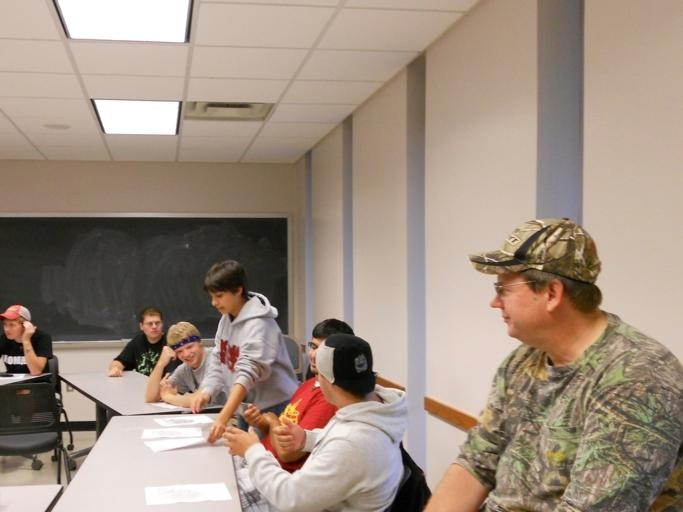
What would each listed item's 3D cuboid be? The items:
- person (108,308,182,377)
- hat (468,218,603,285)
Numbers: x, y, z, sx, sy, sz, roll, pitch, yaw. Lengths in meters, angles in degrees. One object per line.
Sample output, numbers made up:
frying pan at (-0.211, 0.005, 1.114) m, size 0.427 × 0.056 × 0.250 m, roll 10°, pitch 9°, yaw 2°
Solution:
person at (-1.739, 0.886, 4.776) m, size 0.553 × 0.769 × 0.452 m, roll 2°, pitch -2°, yaw -23°
hat at (0.476, -0.008, 1.345) m, size 0.243 × 0.134 × 0.164 m, roll 5°, pitch -3°, yaw 8°
